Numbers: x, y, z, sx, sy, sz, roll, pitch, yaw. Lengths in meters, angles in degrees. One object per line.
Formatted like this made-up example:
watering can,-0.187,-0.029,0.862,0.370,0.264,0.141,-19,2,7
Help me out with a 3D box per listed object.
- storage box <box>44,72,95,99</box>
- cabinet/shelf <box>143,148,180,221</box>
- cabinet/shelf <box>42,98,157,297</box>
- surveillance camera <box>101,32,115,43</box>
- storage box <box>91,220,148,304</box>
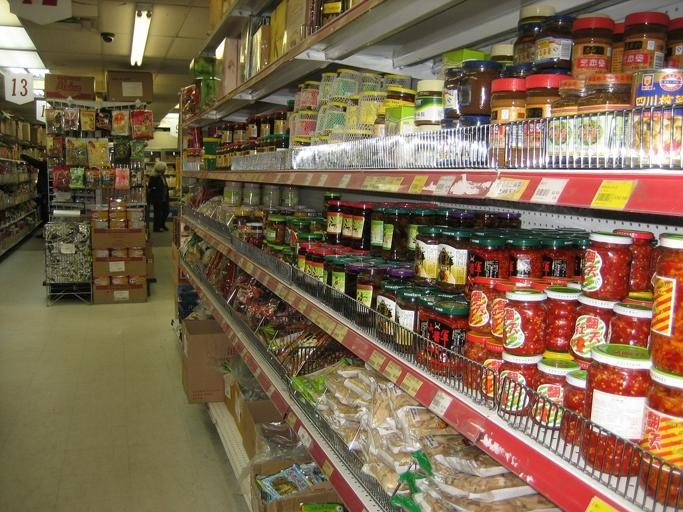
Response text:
storage box,-4.587,-2.842,8.496,0.734,0.428,0.652,-4,10,-35
cabinet/shelf,-4.732,-1.542,13.176,0.504,1.738,0.602,1,9,8
cabinet/shelf,-3.718,-1.066,7.337,1.423,2.793,0.956,-7,27,-43
surveillance camera,-4.011,-3.760,8.663,0.140,0.157,0.179,-6,13,-15
storage box,-2.921,0.119,6.894,0.714,0.950,0.649,2,3,-3
